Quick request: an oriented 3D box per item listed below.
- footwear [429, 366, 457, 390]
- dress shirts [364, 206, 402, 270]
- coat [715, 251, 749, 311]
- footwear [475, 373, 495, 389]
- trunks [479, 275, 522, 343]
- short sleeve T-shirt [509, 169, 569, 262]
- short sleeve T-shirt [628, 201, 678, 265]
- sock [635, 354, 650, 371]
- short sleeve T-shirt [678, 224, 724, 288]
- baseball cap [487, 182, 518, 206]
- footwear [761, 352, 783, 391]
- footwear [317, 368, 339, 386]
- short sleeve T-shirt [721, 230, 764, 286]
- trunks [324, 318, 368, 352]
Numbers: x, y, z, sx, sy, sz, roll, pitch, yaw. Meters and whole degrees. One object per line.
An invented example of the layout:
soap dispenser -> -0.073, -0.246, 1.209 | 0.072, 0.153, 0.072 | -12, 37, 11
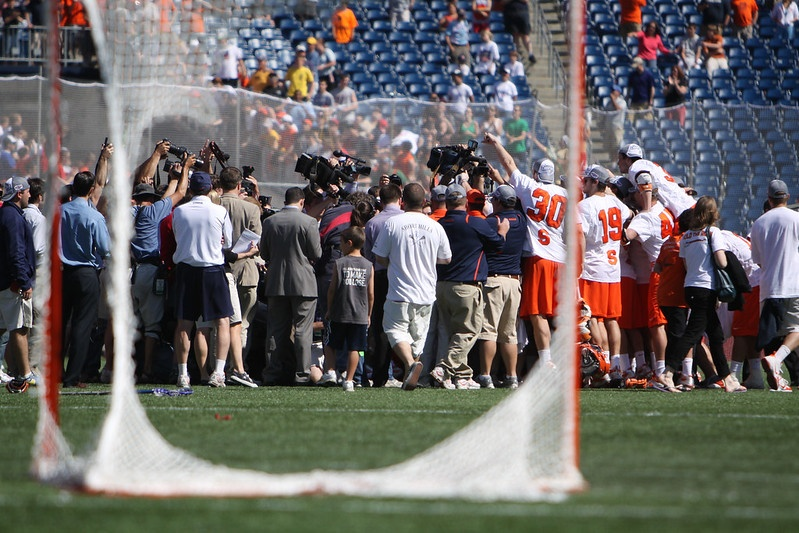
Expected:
footwear -> 0.518, 1.328, 19.058 | 0.197, 0.156, 0.403 | -33, -48, 15
dress shirts -> -0.187, -0.289, 19.167 | 0.746, 0.745, 0.414 | -1, 1, 0
coat -> 3.952, 0.188, 18.731 | 0.451, 0.689, 0.256 | -1, 2, -26
footwear -> 1.047, 1.381, 19.306 | 0.174, 0.213, 0.473 | 0, 3, -6
trunks -> 1.197, 0.509, 19.191 | 0.622, 0.817, 0.294 | 17, -5, -40
short sleeve T-shirt -> 1.664, -0.524, 19.014 | 1.025, 1.050, 0.637 | 2, -5, 6
short sleeve T-shirt -> 3.139, -0.352, 19.701 | 0.681, 0.544, 0.240 | -11, 13, -14
sock -> 3.037, 1.170, 19.966 | 0.168, 0.160, 0.147 | 1, -1, -28
short sleeve T-shirt -> 3.583, -0.087, 18.779 | 0.729, 0.811, 0.440 | 0, 1, 34
baseball cap -> 1.282, -0.824, 19.267 | 0.190, 0.163, 0.286 | -6, 30, -24
footwear -> 4.405, 1.204, 18.824 | 0.220, 0.472, 0.174 | -42, 32, -20
footwear -> -0.863, 1.349, 19.319 | 0.119, 0.128, 0.294 | 9, -16, -34
short sleeve T-shirt -> 4.283, -0.122, 19.603 | 0.441, 0.768, 0.215 | -19, -10, -34
trunks -> -0.618, 0.817, 19.028 | 0.546, 0.490, 0.318 | 3, 0, 7
